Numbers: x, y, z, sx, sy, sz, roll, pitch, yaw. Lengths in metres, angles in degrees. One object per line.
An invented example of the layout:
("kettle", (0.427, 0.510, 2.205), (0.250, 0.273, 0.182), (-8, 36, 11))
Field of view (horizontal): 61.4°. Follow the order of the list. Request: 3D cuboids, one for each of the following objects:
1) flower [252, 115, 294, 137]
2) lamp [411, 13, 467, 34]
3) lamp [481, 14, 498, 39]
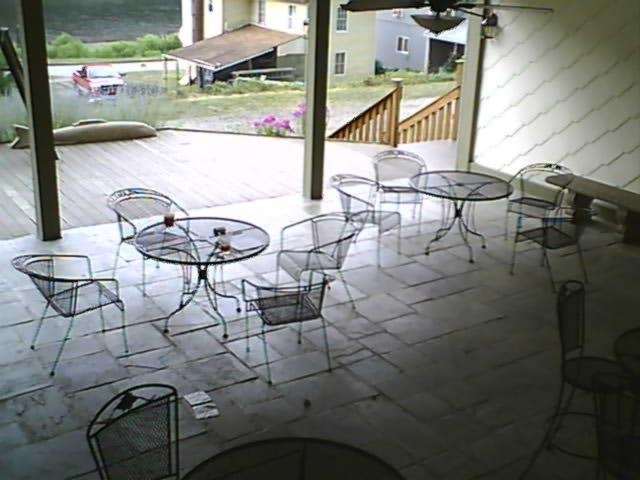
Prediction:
("flower", (-1.153, -2.842, 13.462), (1.002, 0.465, 0.747), (0, 25, -4))
("lamp", (0.908, -1.666, 4.109), (0.296, 0.118, 0.253), (7, 23, 16))
("lamp", (2.661, -3.357, 8.425), (0.263, 0.383, 0.264), (19, 33, 28))
